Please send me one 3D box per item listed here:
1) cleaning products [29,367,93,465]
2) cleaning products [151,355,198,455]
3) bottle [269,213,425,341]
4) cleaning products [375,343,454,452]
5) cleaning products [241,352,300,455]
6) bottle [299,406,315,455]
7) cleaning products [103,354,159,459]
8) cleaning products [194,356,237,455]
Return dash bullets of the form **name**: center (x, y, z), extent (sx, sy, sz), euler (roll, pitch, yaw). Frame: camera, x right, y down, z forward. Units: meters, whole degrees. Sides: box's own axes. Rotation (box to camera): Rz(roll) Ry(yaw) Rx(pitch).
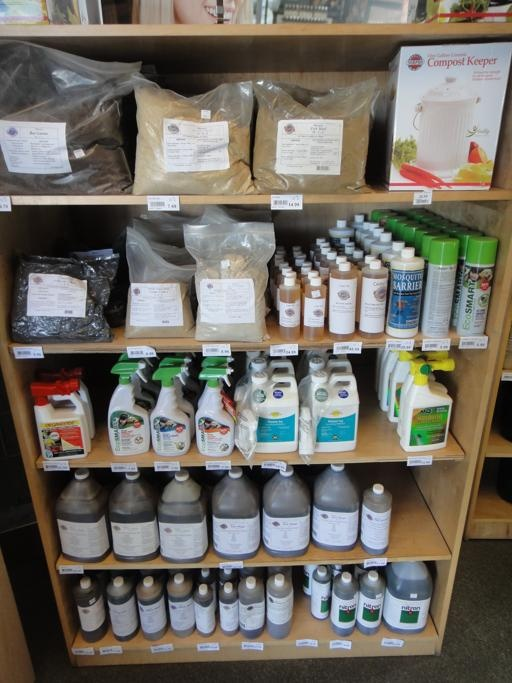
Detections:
- **cleaning products**: center (-0.608, 0.218, 1.696), extent (0.164, 0.280, 0.185), euler (-9, 31, -14)
- **cleaning products**: center (-0.271, 0.189, 1.713), extent (0.137, 0.292, 0.214), euler (-5, 30, -7)
- **bottle**: center (0.268, -0.203, 1.670), extent (0.424, 0.295, 0.458), euler (-1, 30, 0)
- **cleaning products**: center (0.508, 0.182, 1.706), extent (0.304, 0.395, 0.153), euler (-3, 25, 0)
- **cleaning products**: center (0.035, 0.192, 1.699), extent (0.184, 0.282, 0.197), euler (-2, 30, -2)
- **bottle**: center (0.153, 0.282, 1.660), extent (0.051, 0.144, 0.081), euler (2, 30, 6)
- **cleaning products**: center (-0.387, 0.189, 1.711), extent (0.124, 0.312, 0.211), euler (4, 30, 9)
- **cleaning products**: center (-0.136, 0.190, 1.704), extent (0.129, 0.300, 0.211), euler (-5, 30, -6)
